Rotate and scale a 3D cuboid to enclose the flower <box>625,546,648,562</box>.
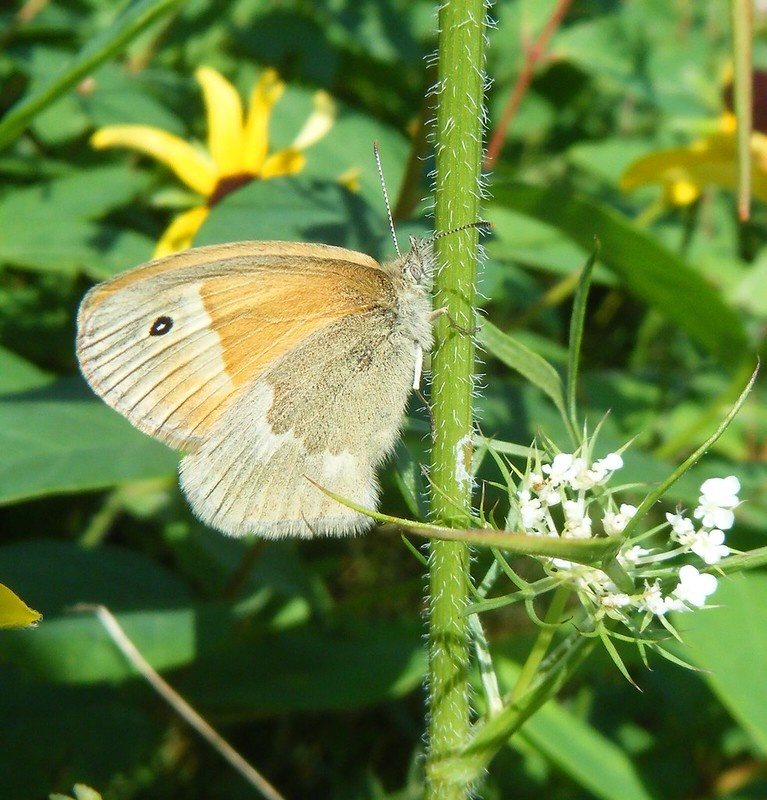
[{"bbox_3d":[0.275,0.168,1.060,0.018,0.030,0.014,28,85,20],"label":"flower"}]

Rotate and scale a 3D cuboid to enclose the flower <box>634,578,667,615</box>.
[{"bbox_3d":[0.280,0.209,1.034,0.019,0.039,0.036,50,34,-24],"label":"flower"}]

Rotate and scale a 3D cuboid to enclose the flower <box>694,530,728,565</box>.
[{"bbox_3d":[0.343,0.155,1.018,0.046,0.019,0.034,-12,79,-1],"label":"flower"}]

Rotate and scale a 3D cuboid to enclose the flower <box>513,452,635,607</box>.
[{"bbox_3d":[0.206,0.134,1.069,0.204,0.061,0.158,9,56,-3],"label":"flower"}]

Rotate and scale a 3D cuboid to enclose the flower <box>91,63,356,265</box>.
[{"bbox_3d":[-0.260,-0.367,1.475,0.340,0.303,0.215,-9,44,-17],"label":"flower"}]
